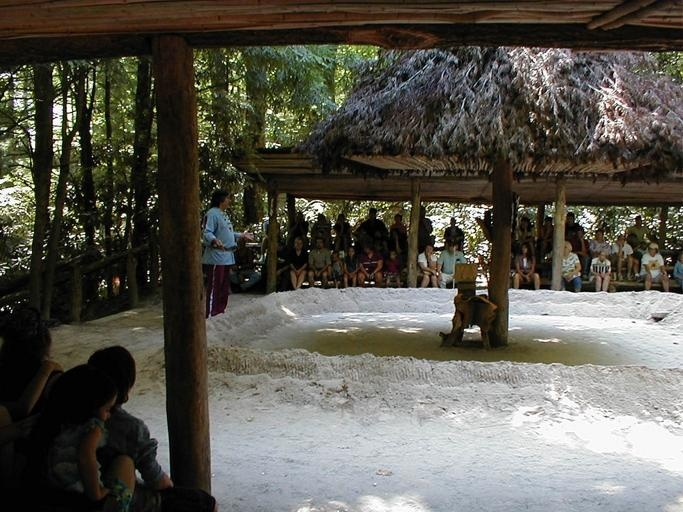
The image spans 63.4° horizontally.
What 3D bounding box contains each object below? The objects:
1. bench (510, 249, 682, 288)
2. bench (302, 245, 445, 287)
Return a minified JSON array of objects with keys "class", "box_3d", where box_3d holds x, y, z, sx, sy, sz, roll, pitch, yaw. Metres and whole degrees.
[{"class":"bench","box_3d":[6.086,0.243,11.807,3.065,0.685,0.903,0,5,-16]},{"class":"bench","box_3d":[0.941,0.191,11.758,2.312,0.857,0.564,1,4,5]}]
